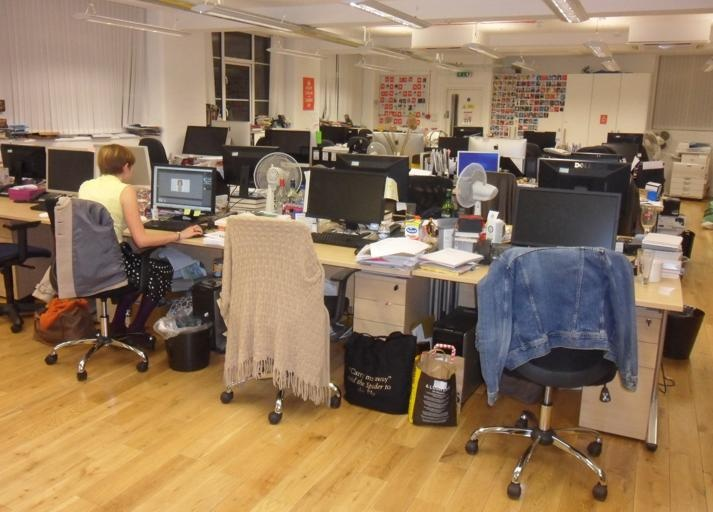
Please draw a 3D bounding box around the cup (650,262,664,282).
[{"bbox_3d":[1.908,0.099,3.521,0.095,0.106,0.094,-1,29,1],"label":"cup"}]

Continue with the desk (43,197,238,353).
[{"bbox_3d":[-1.830,0.080,4.436,0.802,1.365,0.842,17,-9,-31],"label":"desk"}]

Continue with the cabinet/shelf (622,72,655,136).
[{"bbox_3d":[6.107,-3.382,12.148,0.571,1.235,0.248,3,14,8],"label":"cabinet/shelf"}]

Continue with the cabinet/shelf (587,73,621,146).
[{"bbox_3d":[5.572,-3.314,12.467,0.209,1.540,0.636,-12,19,-41],"label":"cabinet/shelf"}]

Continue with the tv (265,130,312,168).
[{"bbox_3d":[-0.901,-1.432,7.361,0.524,0.478,0.276,-1,8,-24],"label":"tv"}]

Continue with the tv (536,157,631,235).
[{"bbox_3d":[1.623,-0.439,3.978,0.604,0.526,0.309,4,11,25],"label":"tv"}]

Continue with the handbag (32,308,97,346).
[{"bbox_3d":[-2.331,0.571,4.482,0.405,0.263,0.293,-2,7,-11],"label":"handbag"}]

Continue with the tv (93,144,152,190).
[{"bbox_3d":[-2.320,-0.958,5.691,0.591,0.514,0.477,9,20,17],"label":"tv"}]

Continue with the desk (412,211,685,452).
[{"bbox_3d":[1.554,0.126,3.913,1.974,1.264,1.146,11,24,29],"label":"desk"}]

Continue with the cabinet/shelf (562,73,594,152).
[{"bbox_3d":[5.228,-3.748,12.882,0.421,1.659,0.163,20,-26,16],"label":"cabinet/shelf"}]

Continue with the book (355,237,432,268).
[{"bbox_3d":[0.235,-0.027,3.790,0.283,0.085,0.280,9,18,36],"label":"book"}]

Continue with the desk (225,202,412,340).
[{"bbox_3d":[-0.473,-0.038,3.840,0.915,1.055,0.891,11,16,44],"label":"desk"}]

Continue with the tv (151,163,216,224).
[{"bbox_3d":[-1.455,-0.539,4.724,0.620,0.457,0.183,6,9,20],"label":"tv"}]

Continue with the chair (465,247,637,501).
[{"bbox_3d":[1.136,0.617,3.313,0.872,1.368,0.837,0,6,1],"label":"chair"}]

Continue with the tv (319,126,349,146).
[{"bbox_3d":[-0.418,-2.410,11.086,0.645,0.395,0.637,4,9,17],"label":"tv"}]

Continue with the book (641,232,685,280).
[{"bbox_3d":[2.057,-0.013,3.692,0.249,0.113,0.324,4,18,21],"label":"book"}]

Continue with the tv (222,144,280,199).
[{"bbox_3d":[-1.016,-0.801,5.176,0.526,0.445,0.161,5,14,10],"label":"tv"}]

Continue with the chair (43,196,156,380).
[{"bbox_3d":[-1.938,0.206,4.042,0.737,1.310,0.486,-3,15,-14],"label":"chair"}]

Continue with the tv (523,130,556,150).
[{"bbox_3d":[3.152,-2.004,9.478,0.463,0.257,0.686,5,15,13],"label":"tv"}]

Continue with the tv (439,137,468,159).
[{"bbox_3d":[1.442,-1.650,8.144,0.541,0.387,0.295,5,10,26],"label":"tv"}]

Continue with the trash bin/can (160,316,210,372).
[{"bbox_3d":[-1.266,0.667,4.175,0.331,0.259,0.344,1,15,0],"label":"trash bin/can"}]

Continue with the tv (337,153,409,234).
[{"bbox_3d":[0.139,-0.502,4.472,0.672,0.467,0.181,9,21,17],"label":"tv"}]

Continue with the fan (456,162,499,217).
[{"bbox_3d":[0.976,-0.552,4.495,0.290,0.396,0.367,3,14,9],"label":"fan"}]

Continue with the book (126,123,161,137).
[{"bbox_3d":[-3.376,-2.018,8.828,0.276,0.192,0.510,14,19,41],"label":"book"}]

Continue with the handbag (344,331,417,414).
[{"bbox_3d":[0.161,0.792,3.795,0.534,0.511,0.277,2,2,35],"label":"handbag"}]

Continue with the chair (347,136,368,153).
[{"bbox_3d":[0.040,-1.857,9.155,0.377,0.358,0.377,-1,20,0],"label":"chair"}]
